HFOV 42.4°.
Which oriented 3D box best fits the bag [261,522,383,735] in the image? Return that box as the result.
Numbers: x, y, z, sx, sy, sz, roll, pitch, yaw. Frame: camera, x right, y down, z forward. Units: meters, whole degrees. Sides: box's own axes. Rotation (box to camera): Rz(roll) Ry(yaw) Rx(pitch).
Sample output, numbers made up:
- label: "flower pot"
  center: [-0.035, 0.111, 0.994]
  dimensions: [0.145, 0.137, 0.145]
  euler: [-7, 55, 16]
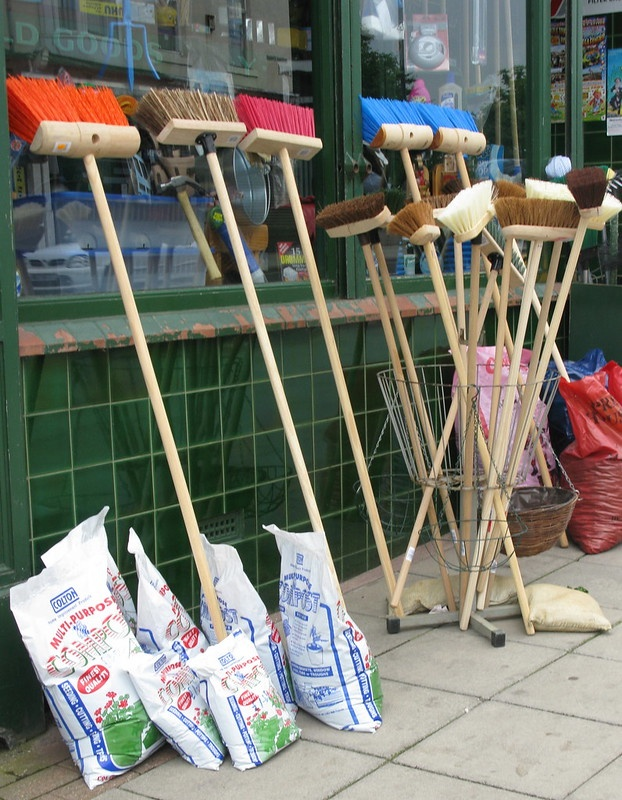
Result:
- label: "bag"
  center: [0.020, 0.609, 2.110]
  dimensions: [0.188, 0.514, 0.375]
  euler: [-19, 21, -37]

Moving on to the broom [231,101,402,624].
- label: "broom"
  center: [0.031, 0.102, 2.359]
  dimensions: [0.096, 1.918, 0.333]
  euler: [-13, 0, 24]

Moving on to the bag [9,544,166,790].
- label: "bag"
  center: [-0.499, 0.604, 1.773]
  dimensions: [0.165, 0.472, 0.311]
  euler: [-18, 12, 41]

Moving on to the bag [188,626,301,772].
- label: "bag"
  center: [-0.156, 0.684, 1.813]
  dimensions: [0.090, 0.250, 0.222]
  euler: [-23, 4, 34]

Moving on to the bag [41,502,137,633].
- label: "bag"
  center: [-0.529, 0.390, 1.869]
  dimensions: [0.089, 0.247, 0.213]
  euler: [-16, 26, 47]
